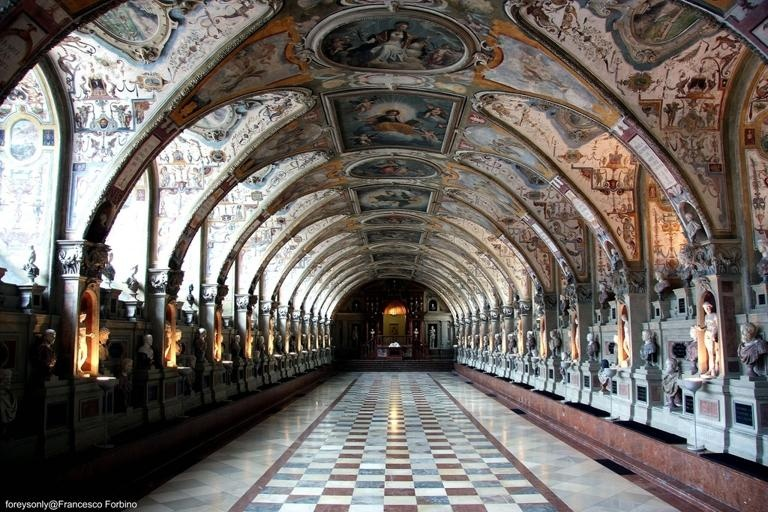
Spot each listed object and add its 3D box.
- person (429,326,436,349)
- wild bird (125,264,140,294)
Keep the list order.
[{"bbox_3d":[5.496,8.933,59.528,0.906,2.417,0.433,1,-9,-9],"label":"person"},{"bbox_3d":[-6.781,0.629,14.448,0.335,0.903,0.754,4,-9,-23],"label":"wild bird"}]
